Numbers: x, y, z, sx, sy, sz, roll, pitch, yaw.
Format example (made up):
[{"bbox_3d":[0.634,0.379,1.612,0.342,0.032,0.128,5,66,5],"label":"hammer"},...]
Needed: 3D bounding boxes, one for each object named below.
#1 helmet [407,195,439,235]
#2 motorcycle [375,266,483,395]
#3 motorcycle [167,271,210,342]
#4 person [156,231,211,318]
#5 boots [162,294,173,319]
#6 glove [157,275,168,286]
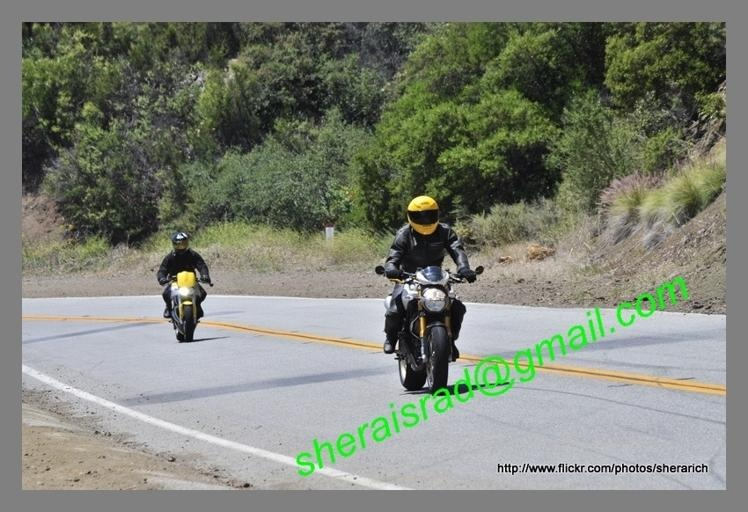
[{"bbox_3d":[0.778,-0.647,12.324,0.472,0.589,0.593,-3,7,3],"label":"helmet"},{"bbox_3d":[0.805,1.171,11.851,0.674,2.072,1.129,-6,9,-39],"label":"motorcycle"},{"bbox_3d":[-4.044,1.084,16.669,0.628,1.512,0.617,-2,7,-10],"label":"motorcycle"},{"bbox_3d":[-4.309,0.369,17.868,0.978,1.305,2.253,-2,-8,-13],"label":"person"},{"bbox_3d":[-4.681,1.139,17.598,0.221,0.727,0.463,-4,6,-13],"label":"boots"},{"bbox_3d":[-4.547,0.532,16.743,0.163,0.133,0.216,-1,-7,-14],"label":"glove"}]
